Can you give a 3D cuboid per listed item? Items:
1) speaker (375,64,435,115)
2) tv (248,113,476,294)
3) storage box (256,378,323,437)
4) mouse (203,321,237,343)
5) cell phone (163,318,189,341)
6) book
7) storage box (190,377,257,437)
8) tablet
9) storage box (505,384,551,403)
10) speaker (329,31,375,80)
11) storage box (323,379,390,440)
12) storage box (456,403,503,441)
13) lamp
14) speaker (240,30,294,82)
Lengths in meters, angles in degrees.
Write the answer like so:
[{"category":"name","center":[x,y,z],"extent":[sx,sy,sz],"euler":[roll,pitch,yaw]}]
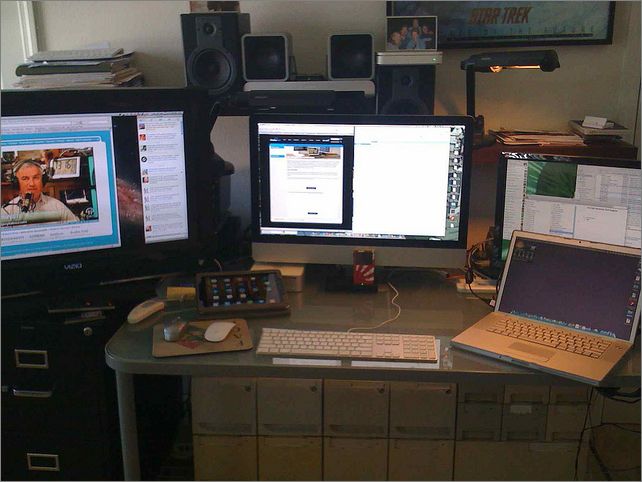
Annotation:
[{"category":"speaker","center":[0.304,-0.544,2.097],"extent":[0.212,0.195,0.109],"euler":[0,14,0]},{"category":"tv","center":[0.125,-0.144,1.989],"extent":[0.632,0.446,0.162],"euler":[1,15,2]},{"category":"storage box","center":[-0.104,0.527,1.897],"extent":[0.258,0.214,0.084],"euler":[1,13,1]},{"category":"mouse","center":[-0.305,0.262,1.745],"extent":[0.049,0.015,0.065],"euler":[4,24,5]},{"category":"cell phone","center":[-0.437,0.257,1.732],"extent":[0.045,0.037,0.072],"euler":[3,20,-15]},{"category":"book","center":[-0.912,-0.658,2.233],"extent":[0.377,0.135,0.339],"euler":[2,17,7]},{"category":"storage box","center":[-0.318,0.527,1.903],"extent":[0.254,0.209,0.135],"euler":[0,11,0]},{"category":"tablet","center":[-0.263,0.171,1.922],"extent":[0.190,0.042,0.185],"euler":[0,32,-9]},{"category":"storage box","center":[0.652,0.472,1.842],"extent":[0.124,0.058,0.081],"euler":[0,7,3]},{"category":"speaker","center":[0.113,-0.655,2.108],"extent":[0.159,0.148,0.156],"euler":[1,10,8]},{"category":"storage box","center":[0.116,0.532,1.890],"extent":[0.254,0.208,0.135],"euler":[0,13,2]},{"category":"storage box","center":[0.515,0.575,1.894],"extent":[0.128,0.104,0.064],"euler":[0,9,1]},{"category":"lamp","center":[0.671,-0.527,2.179],"extent":[0.295,0.341,0.338],"euler":[0,17,3]},{"category":"speaker","center":[-0.196,-0.670,2.132],"extent":[0.175,0.156,0.180],"euler":[1,17,2]}]
